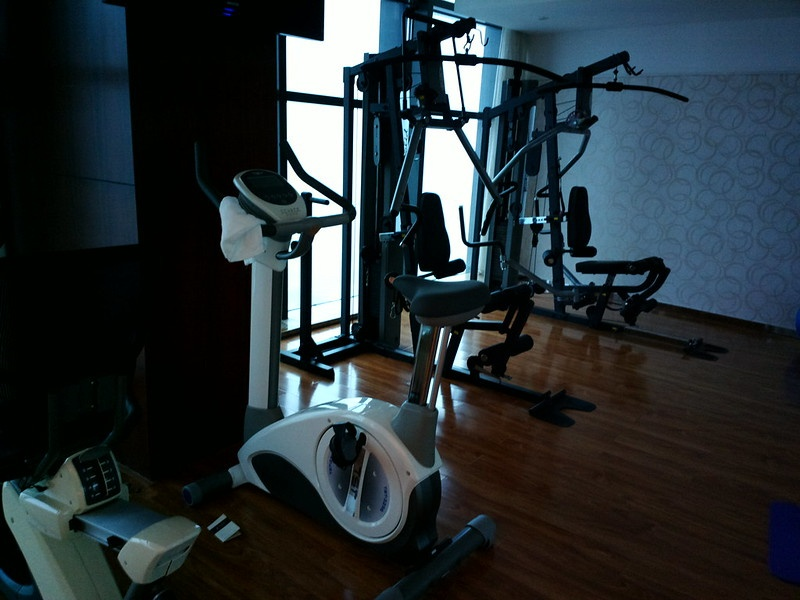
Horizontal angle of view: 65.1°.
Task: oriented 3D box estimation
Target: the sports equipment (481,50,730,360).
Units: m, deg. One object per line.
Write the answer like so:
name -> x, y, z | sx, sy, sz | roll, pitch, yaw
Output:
sports equipment -> 1.767, -1.065, 5.515 | 2.106, 2.368, 2.473 | -21, 31, -37

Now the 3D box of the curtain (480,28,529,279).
curtain -> 0.990, -1.314, 6.739 | 0.296, 2.933, 0.330 | -5, 18, -37

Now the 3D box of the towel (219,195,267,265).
towel -> -0.647, -0.267, 2.516 | 0.179, 0.247, 0.074 | -19, -1, -17
